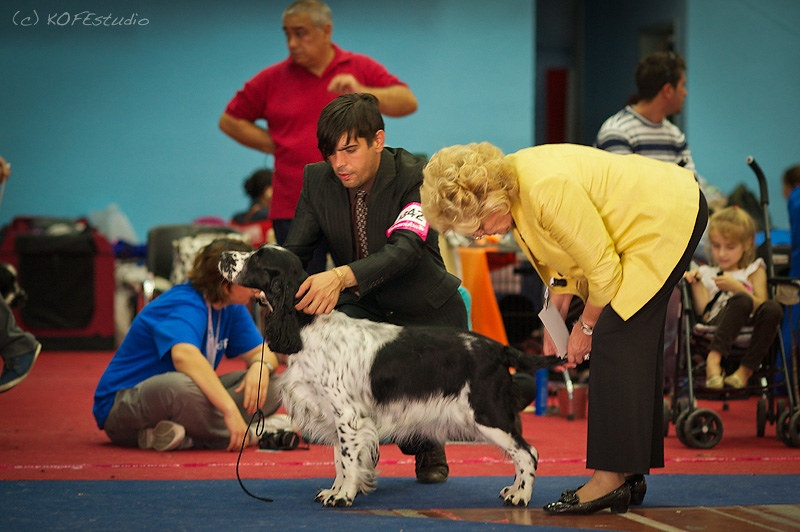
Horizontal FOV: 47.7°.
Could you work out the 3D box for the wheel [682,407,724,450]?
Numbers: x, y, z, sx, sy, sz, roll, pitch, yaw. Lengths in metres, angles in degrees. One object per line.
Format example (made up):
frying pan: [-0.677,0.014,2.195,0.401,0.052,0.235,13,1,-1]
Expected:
wheel: [2.334,1.252,7.010,0.312,0.308,0.320,-1,-4,0]

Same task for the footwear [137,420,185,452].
footwear: [-1.743,1.260,6.663,0.277,0.112,0.224,-5,-22,8]

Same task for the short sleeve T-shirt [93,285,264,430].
short sleeve T-shirt: [-1.679,0.633,6.930,1.246,1.070,0.973,8,7,-8]

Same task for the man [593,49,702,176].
man: [2.074,-1.184,7.711,1.034,1.148,0.619,-7,14,-32]

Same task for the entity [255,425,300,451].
entity: [-0.929,1.292,6.743,0.228,0.150,0.314,-4,-7,38]

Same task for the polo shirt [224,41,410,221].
polo shirt: [-0.642,-1.040,7.264,1.501,1.327,0.877,-1,15,-8]

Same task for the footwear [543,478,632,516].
footwear: [1.118,1.388,5.450,0.538,0.206,0.197,1,-7,-3]

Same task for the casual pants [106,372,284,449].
casual pants: [-1.605,1.070,6.761,0.820,0.350,0.829,3,-3,7]
